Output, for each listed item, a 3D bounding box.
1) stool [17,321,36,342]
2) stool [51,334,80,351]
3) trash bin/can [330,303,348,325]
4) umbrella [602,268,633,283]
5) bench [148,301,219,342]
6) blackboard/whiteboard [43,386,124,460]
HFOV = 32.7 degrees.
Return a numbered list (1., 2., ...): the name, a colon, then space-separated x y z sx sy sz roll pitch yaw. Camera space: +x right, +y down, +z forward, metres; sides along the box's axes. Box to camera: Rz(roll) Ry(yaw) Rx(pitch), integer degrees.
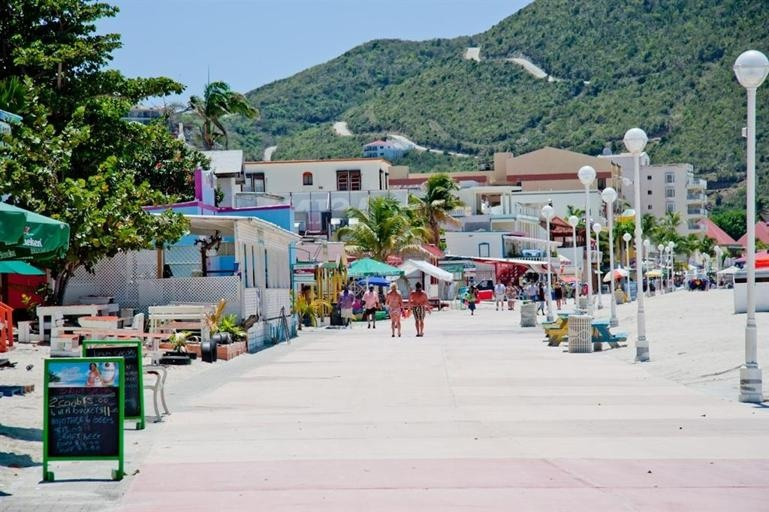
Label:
1. stool: -11.883 2.446 43.228 0.549 0.736 1.449 0 -4 -17
2. stool: -9.682 2.579 39.213 0.563 0.413 0.619 1 -2 9
3. trash bin/can: -2.111 2.485 56.675 0.700 1.239 0.735 0 -5 -9
4. umbrella: 15.986 1.248 90.116 1.071 0.408 1.178 -19 -2 21
5. bench: -6.593 2.119 42.352 2.083 1.154 1.100 -1 -4 -4
6. blackboard/whiteboard: -7.127 3.925 30.702 1.444 1.580 0.150 0 -2 -1
